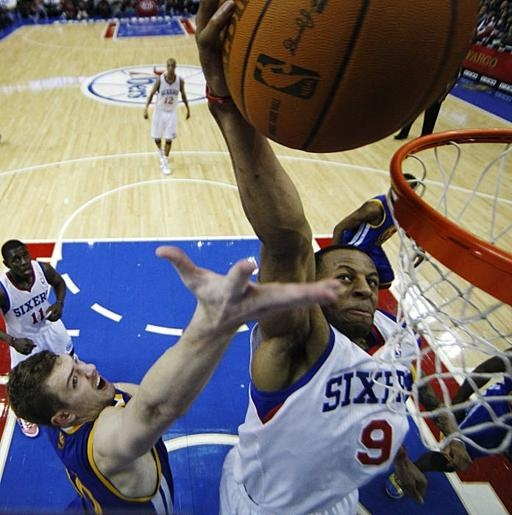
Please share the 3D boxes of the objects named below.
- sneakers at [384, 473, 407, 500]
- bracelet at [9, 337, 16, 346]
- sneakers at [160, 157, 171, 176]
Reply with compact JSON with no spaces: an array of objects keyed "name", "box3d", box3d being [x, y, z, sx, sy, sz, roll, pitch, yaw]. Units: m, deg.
[{"name":"sneakers","box3d":[0.706,1.157,2.367,0.103,0.094,0.121,30,58,-6]},{"name":"bracelet","box3d":[-1.317,0.448,2.472,0.039,0.037,0.010,31,-9,-25]},{"name":"sneakers","box3d":[-1.087,-1.086,5.485,0.090,0.180,0.260,-18,64,-21]}]
